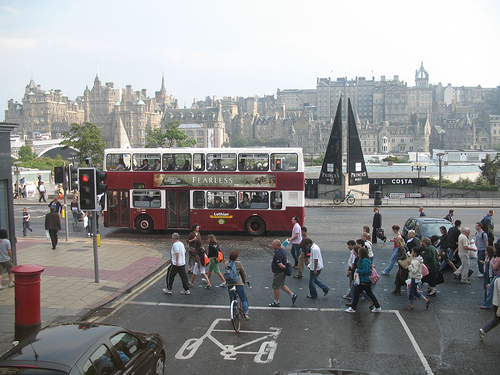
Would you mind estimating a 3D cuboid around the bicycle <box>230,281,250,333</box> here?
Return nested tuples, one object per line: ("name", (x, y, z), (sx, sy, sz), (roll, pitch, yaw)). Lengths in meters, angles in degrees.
("bicycle", (-0.420, 3.784, 20.759), (0.436, 1.329, 1.009), (1, 9, 6))

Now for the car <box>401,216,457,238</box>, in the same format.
("car", (7.640, 1.613, 27.986), (1.163, 1.041, 2.011), (-2, -7, -13))

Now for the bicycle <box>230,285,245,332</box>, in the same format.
("bicycle", (-0.412, 3.780, 20.784), (0.397, 1.329, 1.049), (1, 9, 4))

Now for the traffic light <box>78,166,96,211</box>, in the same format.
("traffic light", (-6.027, 0.034, 24.253), (0.676, 1.615, 0.489), (-1, 9, -10))

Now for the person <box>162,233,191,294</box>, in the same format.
("person", (-2.693, 2.658, 24.261), (0.979, 2.285, 1.587), (-1, 9, -6))

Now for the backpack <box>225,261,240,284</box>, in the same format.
("backpack", (-0.590, 2.710, 20.817), (0.374, 0.624, 0.579), (-3, -3, 6))

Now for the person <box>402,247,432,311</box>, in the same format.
("person", (5.709, 3.038, 22.371), (0.877, 2.060, 1.149), (3, 9, 18))

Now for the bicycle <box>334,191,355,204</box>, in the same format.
("bicycle", (7.691, 0.860, 53.580), (1.406, 1.001, 0.758), (-1, 6, 9))

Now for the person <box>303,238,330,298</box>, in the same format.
("person", (2.350, 2.886, 23.330), (0.901, 2.058, 0.776), (1, 9, 4))
